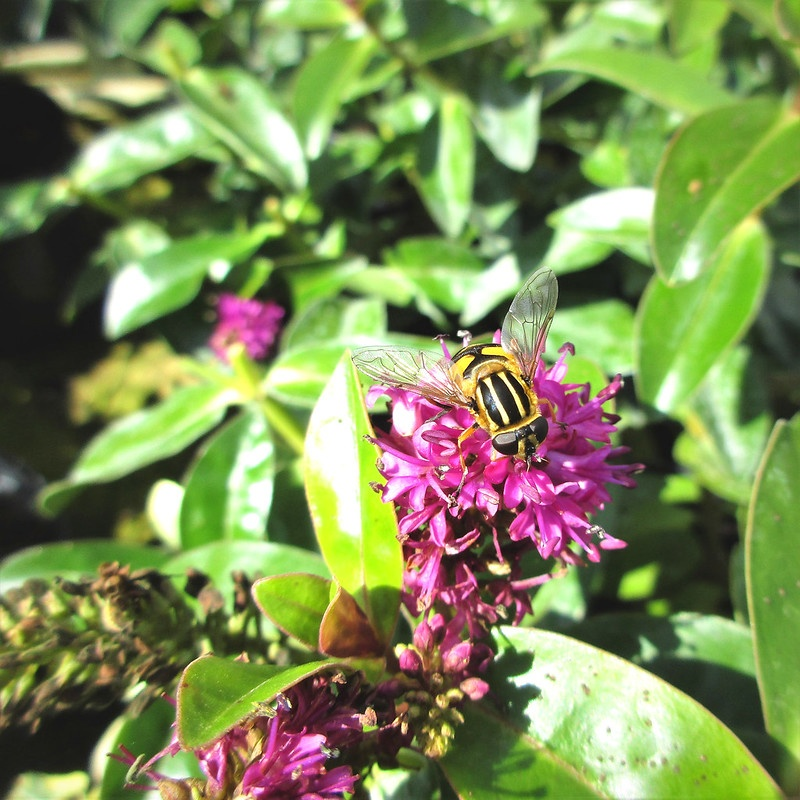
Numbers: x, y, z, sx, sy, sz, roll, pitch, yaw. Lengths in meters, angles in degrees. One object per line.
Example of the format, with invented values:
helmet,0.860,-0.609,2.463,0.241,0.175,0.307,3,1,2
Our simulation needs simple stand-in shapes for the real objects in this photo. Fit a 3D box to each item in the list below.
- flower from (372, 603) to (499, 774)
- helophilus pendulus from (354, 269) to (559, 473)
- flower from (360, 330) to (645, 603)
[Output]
flower,0.047,0.434,1.462,0.139,0.164,0.233,-47,16,22
helophilus pendulus,0.108,-0.005,1.604,0.424,0.121,0.298,-25,72,-10
flower,0.166,0.145,1.361,0.384,0.110,0.350,-15,60,-14
